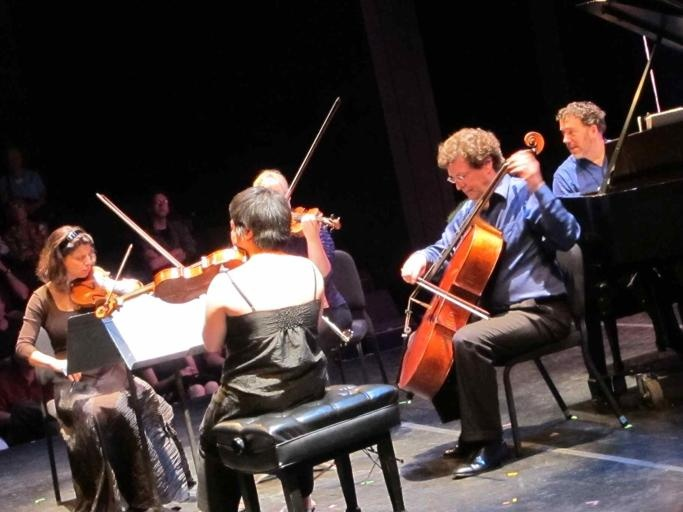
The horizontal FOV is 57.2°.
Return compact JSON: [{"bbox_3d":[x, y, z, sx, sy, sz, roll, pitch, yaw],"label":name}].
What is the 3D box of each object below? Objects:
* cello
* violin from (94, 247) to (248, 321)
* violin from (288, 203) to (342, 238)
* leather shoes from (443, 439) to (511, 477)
[{"bbox_3d":[0.619,0.072,3.265,0.884,1.136,0.492,-12,3,2],"label":"cello"},{"bbox_3d":[-0.965,0.153,3.513,0.576,0.087,0.235,-21,-28,-19],"label":"violin"},{"bbox_3d":[-0.224,-0.216,3.866,0.331,0.077,0.181,15,46,43],"label":"violin"},{"bbox_3d":[0.686,0.984,3.086,0.348,0.138,0.117,-14,2,-29],"label":"leather shoes"}]
